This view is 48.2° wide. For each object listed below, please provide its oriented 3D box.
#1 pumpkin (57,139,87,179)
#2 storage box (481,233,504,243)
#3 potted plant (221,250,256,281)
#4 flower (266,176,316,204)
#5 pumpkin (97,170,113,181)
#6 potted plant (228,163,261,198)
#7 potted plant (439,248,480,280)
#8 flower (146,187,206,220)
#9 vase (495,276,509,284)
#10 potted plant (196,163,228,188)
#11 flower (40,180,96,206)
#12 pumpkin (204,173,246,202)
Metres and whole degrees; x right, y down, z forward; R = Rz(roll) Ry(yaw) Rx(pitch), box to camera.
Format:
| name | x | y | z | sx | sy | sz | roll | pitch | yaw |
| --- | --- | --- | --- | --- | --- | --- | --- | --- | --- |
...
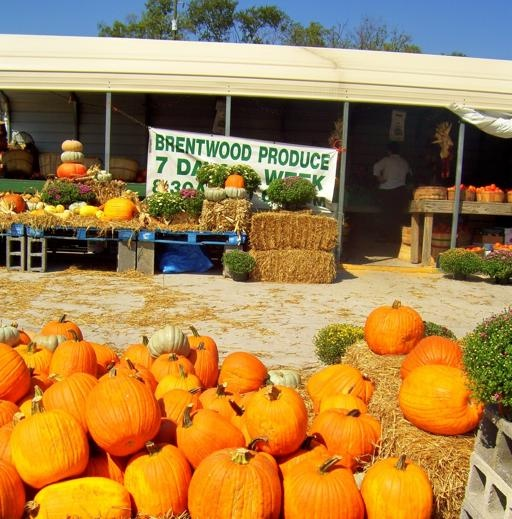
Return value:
| name | x | y | z | sx | sy | sz | roll | pitch | yaw |
| --- | --- | --- | --- | --- | --- | --- | --- | --- | --- |
| pumpkin | -3.057 | -1.642 | 9.524 | 0.455 | 0.658 | 1.044 | 2 | 7 | -18 |
| storage box | 4.621 | -0.398 | 11.244 | 0.235 | 0.141 | 0.233 | -1 | 6 | 10 |
| potted plant | -0.217 | 0.043 | 8.024 | 0.423 | 0.452 | 0.460 | -4 | 8 | -41 |
| flower | 0.545 | -1.042 | 8.745 | 0.732 | 0.395 | 0.302 | 4 | 6 | -1 |
| pumpkin | -2.479 | -1.329 | 9.284 | 0.230 | 0.177 | 0.436 | 2 | 7 | -17 |
| potted plant | -0.155 | -1.195 | 8.985 | 0.439 | 0.458 | 0.453 | 13 | -1 | 7 |
| potted plant | 3.243 | 0.044 | 9.083 | 0.561 | 0.491 | 0.500 | 6 | 8 | 44 |
| flower | -1.209 | -0.807 | 8.524 | 0.648 | 0.299 | 0.508 | 1 | 6 | -7 |
| vase | 3.728 | 0.281 | 8.654 | 0.151 | 0.125 | 0.150 | -6 | 4 | 6 |
| potted plant | -0.667 | -1.296 | 8.898 | 0.376 | 0.252 | 0.446 | 2 | 9 | 6 |
| flower | -2.945 | -1.013 | 8.894 | 0.543 | 0.305 | 0.510 | 4 | 7 | 7 |
| pumpkin | -0.458 | -1.061 | 8.548 | 0.537 | 0.265 | 0.380 | -15 | 9 | -18 |
